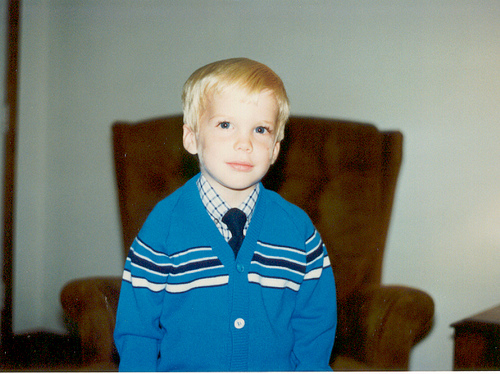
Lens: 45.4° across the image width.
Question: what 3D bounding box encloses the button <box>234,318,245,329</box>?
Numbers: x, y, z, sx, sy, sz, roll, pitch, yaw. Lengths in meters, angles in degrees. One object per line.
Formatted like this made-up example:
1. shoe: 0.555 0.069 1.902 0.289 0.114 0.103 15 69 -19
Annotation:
1. button: -0.028 0.346 1.522 0.026 0.023 0.004 1 4 -2

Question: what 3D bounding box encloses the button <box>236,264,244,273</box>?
1. button: -0.027 0.207 1.533 0.019 0.021 0.005 1 5 -2

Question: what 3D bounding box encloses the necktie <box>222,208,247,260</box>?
1. necktie: -0.032 0.122 1.518 0.059 0.121 0.029 -2 -2 -6
